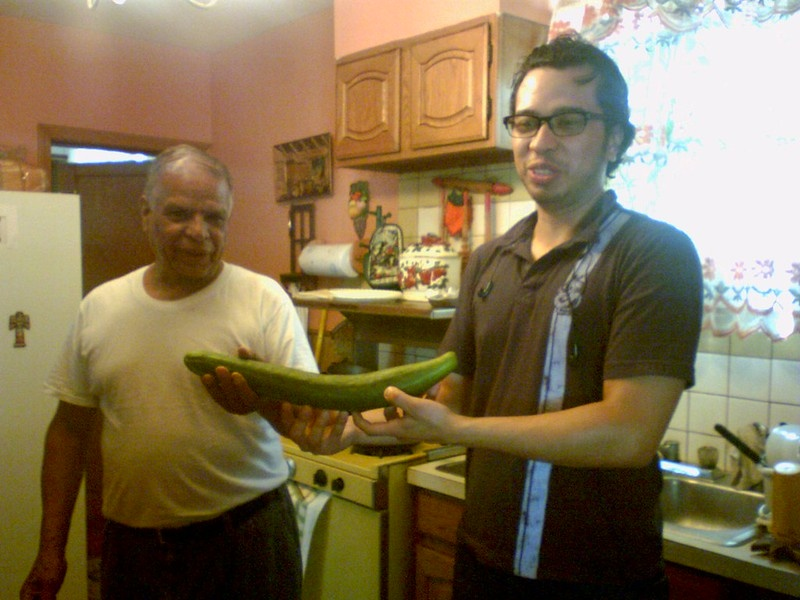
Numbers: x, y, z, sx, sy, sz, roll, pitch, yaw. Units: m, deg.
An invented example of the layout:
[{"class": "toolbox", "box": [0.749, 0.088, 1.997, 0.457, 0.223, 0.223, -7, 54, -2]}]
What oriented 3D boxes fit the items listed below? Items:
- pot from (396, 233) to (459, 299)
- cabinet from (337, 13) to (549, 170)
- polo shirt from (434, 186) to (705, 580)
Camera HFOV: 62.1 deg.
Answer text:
[{"class": "pot", "box": [0.152, -0.157, 3.153, 0.206, 0.292, 0.345, 1, 1, -44]}, {"class": "cabinet", "box": [0.158, -0.964, 3.274, 0.403, 0.552, 1.108, -5, 8, -43]}, {"class": "polo shirt", "box": [0.402, 0.208, 1.729, 0.312, 0.981, 0.648, -2, 7, -41]}]
